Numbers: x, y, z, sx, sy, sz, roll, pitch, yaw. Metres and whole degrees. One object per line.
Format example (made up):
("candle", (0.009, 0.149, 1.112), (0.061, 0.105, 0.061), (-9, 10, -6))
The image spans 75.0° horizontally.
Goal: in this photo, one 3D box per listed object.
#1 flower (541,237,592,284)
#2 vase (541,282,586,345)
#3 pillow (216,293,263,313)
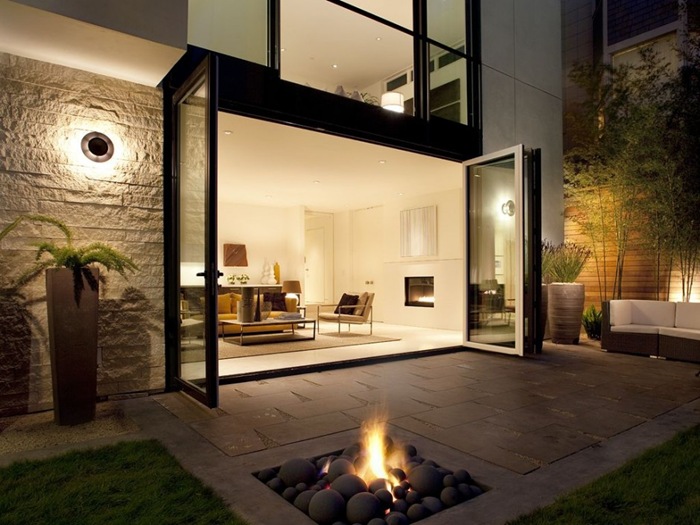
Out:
("flower", (3.835, -0.022, 8.143), (0.731, 0.741, 1.152), (0, 2, 25))
("vase", (3.605, 0.854, 7.698), (0.575, 1.042, 0.407), (0, 2, 24))
("pillow", (-1.930, 0.705, 7.919), (0.359, 0.502, 0.665), (-1, -1, 27))
